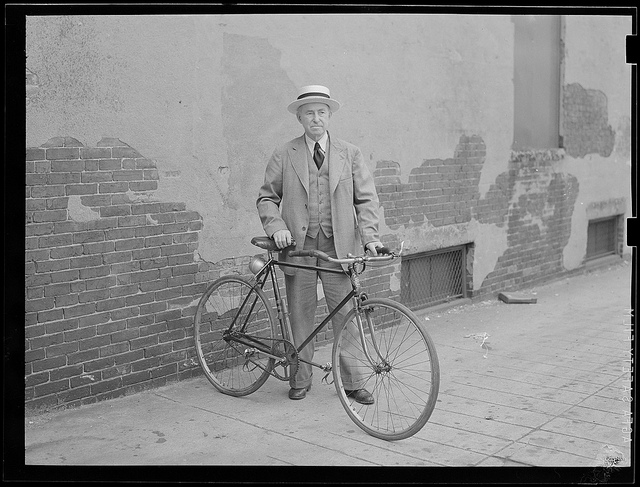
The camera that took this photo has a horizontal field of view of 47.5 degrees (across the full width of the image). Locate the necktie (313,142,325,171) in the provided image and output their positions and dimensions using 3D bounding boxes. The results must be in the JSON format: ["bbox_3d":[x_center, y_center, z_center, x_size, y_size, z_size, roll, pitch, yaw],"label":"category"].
[{"bbox_3d":[-0.012,-0.736,6.103,0.093,0.211,0.040,6,14,22],"label":"necktie"}]

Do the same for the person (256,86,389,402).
[{"bbox_3d":[-0.028,0.013,6.123,1.027,2.618,0.665,0,13,0],"label":"person"}]

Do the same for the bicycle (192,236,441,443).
[{"bbox_3d":[-0.134,0.682,6.010,2.476,1.527,1.144,8,9,33],"label":"bicycle"}]

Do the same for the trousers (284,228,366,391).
[{"bbox_3d":[0.047,0.609,6.107,0.814,1.425,0.444,10,16,36],"label":"trousers"}]
